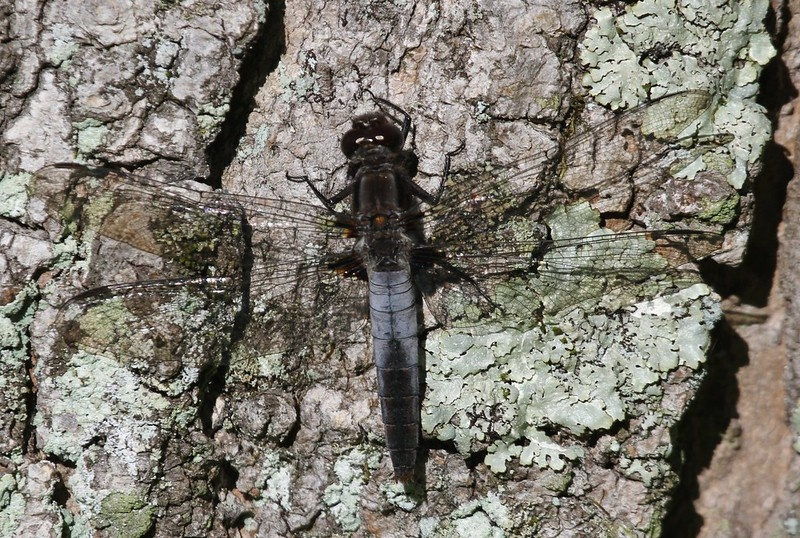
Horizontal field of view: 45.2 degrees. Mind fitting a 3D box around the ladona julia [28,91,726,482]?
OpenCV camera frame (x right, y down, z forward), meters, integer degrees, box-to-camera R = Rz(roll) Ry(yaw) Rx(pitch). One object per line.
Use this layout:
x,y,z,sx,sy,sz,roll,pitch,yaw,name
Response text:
-0.024,0.070,4.074,2.628,1.433,0.326,-6,-2,2,ladona julia
